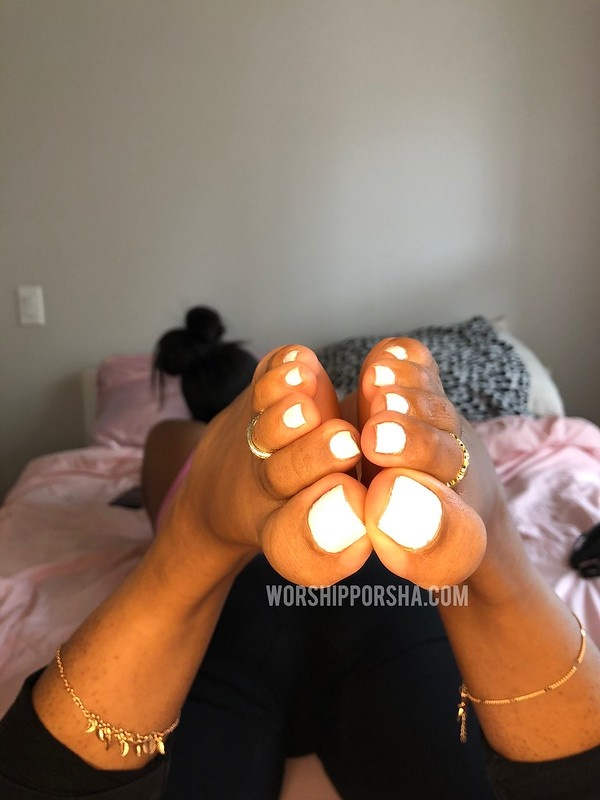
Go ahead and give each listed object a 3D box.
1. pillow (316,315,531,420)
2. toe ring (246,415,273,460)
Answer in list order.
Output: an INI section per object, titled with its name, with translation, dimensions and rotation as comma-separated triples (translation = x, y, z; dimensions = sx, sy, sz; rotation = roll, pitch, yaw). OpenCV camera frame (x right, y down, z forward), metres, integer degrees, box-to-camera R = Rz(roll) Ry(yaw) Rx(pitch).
[pillow]
translation = 0.333, -0.045, 1.392
dimensions = 0.373, 0.100, 0.322
rotation = -21, 17, -2
[toe ring]
translation = -0.028, 0.026, 0.461
dimensions = 0.010, 0.026, 0.027
rotation = -12, 8, -18
